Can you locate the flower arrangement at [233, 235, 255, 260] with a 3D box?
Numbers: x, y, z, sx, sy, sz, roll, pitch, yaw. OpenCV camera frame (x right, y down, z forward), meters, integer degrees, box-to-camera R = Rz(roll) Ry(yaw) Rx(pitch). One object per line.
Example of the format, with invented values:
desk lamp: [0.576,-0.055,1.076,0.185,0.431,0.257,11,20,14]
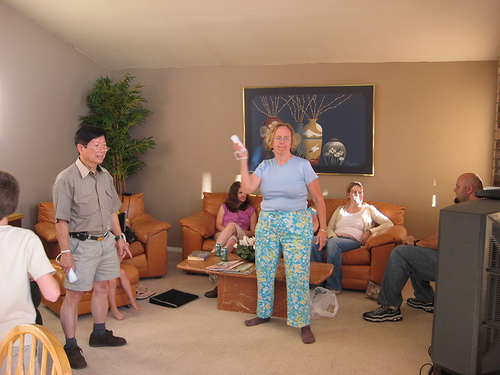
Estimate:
flower arrangement: [-0.043,0.666,4.321,0.210,0.152,0.215,1,-3,0]

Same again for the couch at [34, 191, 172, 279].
couch: [-1.946,0.717,5.028,1.610,1.172,1.144,-2,1,-33]

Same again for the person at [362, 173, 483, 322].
person: [1.703,0.560,3.841,0.994,1.489,0.687,5,10,-2]

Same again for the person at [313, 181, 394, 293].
person: [1.151,0.580,4.707,0.860,1.462,1.009,1,-12,42]

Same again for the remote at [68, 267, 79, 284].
remote: [-1.294,0.641,2.860,0.042,0.039,0.155,-5,44,-44]

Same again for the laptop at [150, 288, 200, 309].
laptop: [-0.824,1.201,4.310,0.397,0.039,0.429,5,10,31]

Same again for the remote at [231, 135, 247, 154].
remote: [-0.104,-0.364,3.227,0.096,0.141,0.110,-8,11,-39]

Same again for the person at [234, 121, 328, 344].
person: [0.283,0.380,3.429,0.737,1.886,0.376,1,9,10]

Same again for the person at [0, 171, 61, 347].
person: [-1.167,0.336,1.994,0.276,0.840,0.285,6,11,36]

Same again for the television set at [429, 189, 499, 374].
television set: [0.911,0.432,1.639,0.252,0.702,0.170,4,10,27]

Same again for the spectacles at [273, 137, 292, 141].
spectacles: [0.274,-0.423,3.345,0.132,0.030,0.047,1,9,7]

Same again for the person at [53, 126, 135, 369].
person: [-1.234,0.442,3.143,0.315,1.858,0.624,7,12,40]

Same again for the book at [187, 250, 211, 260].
book: [-0.560,0.749,4.348,0.193,0.061,0.239,2,9,12]
